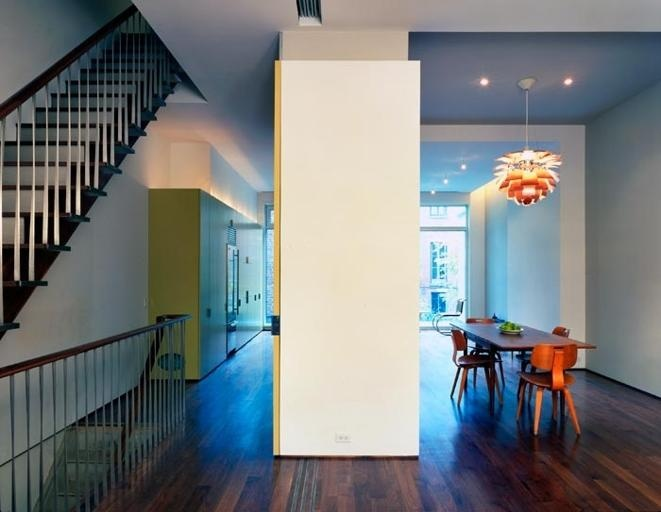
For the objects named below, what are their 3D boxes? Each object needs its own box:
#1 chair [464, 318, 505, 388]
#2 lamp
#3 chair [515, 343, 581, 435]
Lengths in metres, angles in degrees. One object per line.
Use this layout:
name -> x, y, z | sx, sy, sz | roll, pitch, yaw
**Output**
chair -> 2.112, 1.435, 7.304 | 0.513, 0.979, 0.572 | -9, 8, 29
lamp -> 2.380, -1.403, 6.411 | 0.707, 1.500, 0.729 | 0, 0, -4
chair -> 2.413, 1.387, 5.791 | 0.653, 0.993, 0.964 | 3, 10, 21
